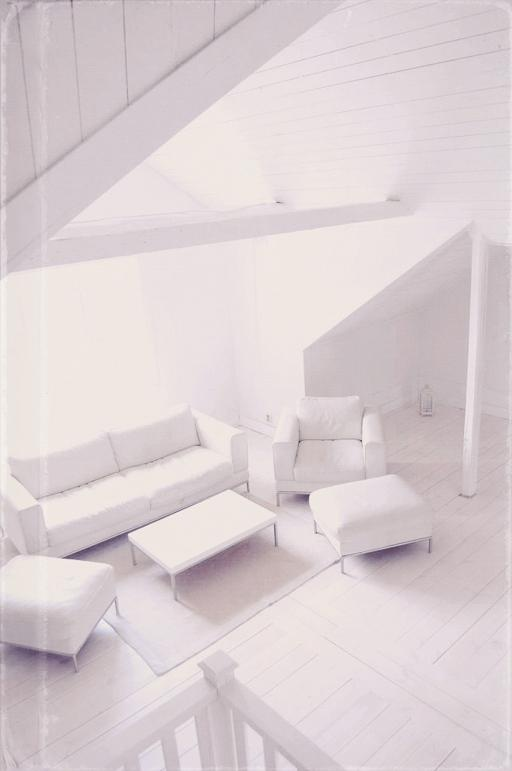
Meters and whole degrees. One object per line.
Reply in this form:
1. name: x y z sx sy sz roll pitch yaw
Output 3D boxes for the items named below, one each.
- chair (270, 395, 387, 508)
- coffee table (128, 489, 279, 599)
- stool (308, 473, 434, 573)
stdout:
1. chair: 0.345 0.274 3.068 0.491 0.402 0.451 -3 24 3
2. coffee table: -0.224 0.541 2.427 0.469 0.131 0.294 -23 34 -36
3. stool: 0.407 0.444 2.425 0.370 0.196 0.315 -14 35 -11
